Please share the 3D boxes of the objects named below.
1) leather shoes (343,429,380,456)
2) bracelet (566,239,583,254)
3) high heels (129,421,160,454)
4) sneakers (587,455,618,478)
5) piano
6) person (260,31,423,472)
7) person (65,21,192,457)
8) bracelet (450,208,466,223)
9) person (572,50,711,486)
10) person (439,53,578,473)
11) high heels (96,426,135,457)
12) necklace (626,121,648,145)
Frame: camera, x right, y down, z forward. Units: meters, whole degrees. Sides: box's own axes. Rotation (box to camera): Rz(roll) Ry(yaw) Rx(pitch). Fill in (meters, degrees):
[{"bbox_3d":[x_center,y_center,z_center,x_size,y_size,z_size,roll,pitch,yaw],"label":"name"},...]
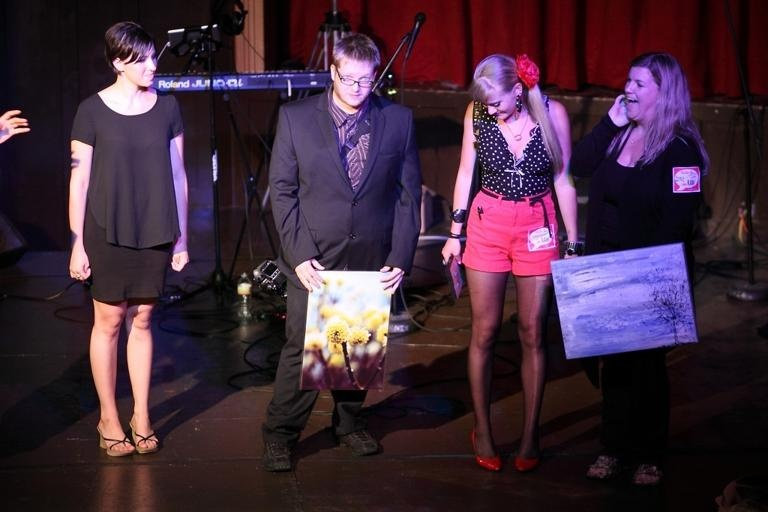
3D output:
[{"bbox_3d":[-0.123,1.046,3.860,0.101,0.092,0.198,-6,10,-33],"label":"leather shoes"},{"bbox_3d":[1.029,-0.066,3.739,0.090,0.065,0.090,-3,4,23],"label":"bracelet"},{"bbox_3d":[-1.380,1.015,3.929,0.095,0.067,0.241,-5,21,-31],"label":"high heels"},{"bbox_3d":[1.169,1.127,3.680,0.095,0.039,0.142,9,36,32],"label":"sneakers"},{"bbox_3d":[-1.269,-1.574,6.129,1.125,0.287,0.352,-1,14,1],"label":"piano"},{"bbox_3d":[-0.221,0.007,3.690,0.812,2.321,0.286,2,8,-7],"label":"person"},{"bbox_3d":[-1.391,-0.068,3.758,0.593,2.347,0.256,-1,9,-23],"label":"person"},{"bbox_3d":[0.412,-0.224,3.791,0.062,0.062,0.078,5,-6,-3],"label":"bracelet"},{"bbox_3d":[1.304,0.064,3.655,0.622,2.230,0.423,8,10,31],"label":"person"},{"bbox_3d":[0.669,0.056,3.684,0.695,2.191,0.287,5,9,16],"label":"person"},{"bbox_3d":[-1.520,1.024,3.880,0.225,0.095,0.114,12,15,38],"label":"high heels"},{"bbox_3d":[1.293,-0.627,3.536,0.088,0.130,0.044,7,-5,42],"label":"necklace"}]
